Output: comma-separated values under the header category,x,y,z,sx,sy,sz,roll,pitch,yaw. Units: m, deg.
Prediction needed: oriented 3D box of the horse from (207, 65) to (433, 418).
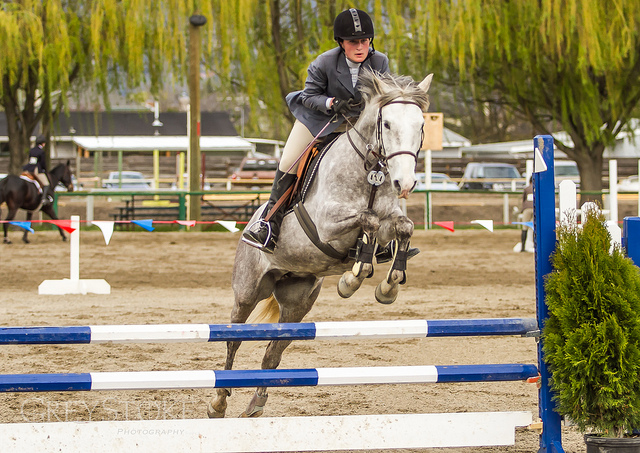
category,x,y,z,sx,sy,sz,roll,pitch,yaw
horse,0.057,0.302,21.018,1.429,4.177,5.683,16,-46,-27

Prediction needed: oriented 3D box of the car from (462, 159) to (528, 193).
category,x,y,z,sx,sy,sz,roll,pitch,yaw
car,5.345,-1.616,40.218,1.249,1.278,2.270,-1,-1,-29

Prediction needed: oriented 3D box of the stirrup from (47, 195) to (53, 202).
category,x,y,z,sx,sy,sz,roll,pitch,yaw
stirrup,-5.530,-0.567,27.583,0.025,0.109,0.075,-36,-5,7
